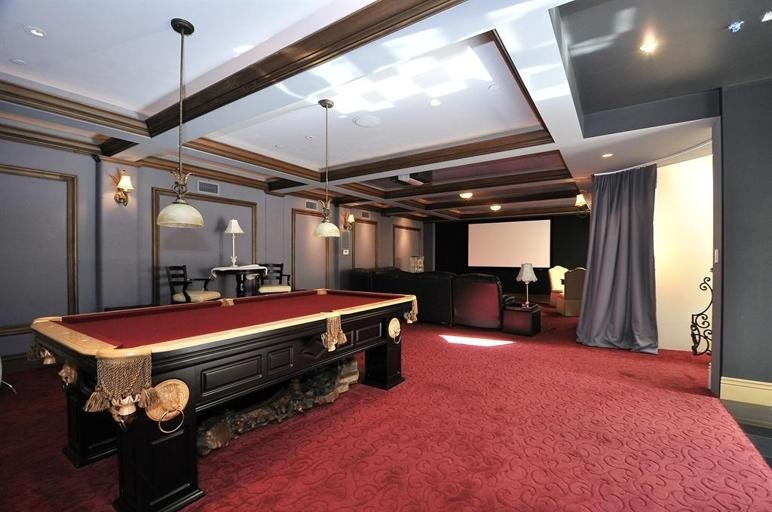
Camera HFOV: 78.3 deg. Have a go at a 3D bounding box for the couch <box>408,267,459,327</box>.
[{"bbox_3d":[0.924,0.778,9.356,0.986,1.009,1.007,2,2,39],"label":"couch"}]

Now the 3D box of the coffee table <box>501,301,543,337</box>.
[{"bbox_3d":[2.449,1.116,8.653,0.605,0.484,0.487,3,7,31],"label":"coffee table"}]

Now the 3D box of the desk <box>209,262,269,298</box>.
[{"bbox_3d":[-2.710,0.504,8.857,0.799,0.619,0.896,0,1,13],"label":"desk"}]

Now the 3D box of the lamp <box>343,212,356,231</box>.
[{"bbox_3d":[-0.917,-0.883,12.033,0.223,0.454,0.639,1,6,9],"label":"lamp"}]

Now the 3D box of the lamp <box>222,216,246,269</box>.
[{"bbox_3d":[-2.849,-0.271,8.940,0.345,0.879,0.736,-2,6,-17],"label":"lamp"}]

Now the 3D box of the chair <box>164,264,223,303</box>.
[{"bbox_3d":[-3.208,0.656,7.907,0.783,0.942,0.683,2,2,-5],"label":"chair"}]

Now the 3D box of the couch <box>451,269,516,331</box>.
[{"bbox_3d":[1.792,0.771,9.167,1.109,1.033,1.081,2,1,31],"label":"couch"}]

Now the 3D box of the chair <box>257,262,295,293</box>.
[{"bbox_3d":[-2.197,0.400,9.360,0.596,0.805,0.621,1,-6,-22],"label":"chair"}]

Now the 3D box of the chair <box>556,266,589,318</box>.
[{"bbox_3d":[4.188,0.744,10.598,0.780,1.017,0.687,-1,1,-9],"label":"chair"}]

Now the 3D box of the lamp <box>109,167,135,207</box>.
[{"bbox_3d":[-4.141,-1.070,7.467,0.315,0.572,0.235,-4,7,-30],"label":"lamp"}]
